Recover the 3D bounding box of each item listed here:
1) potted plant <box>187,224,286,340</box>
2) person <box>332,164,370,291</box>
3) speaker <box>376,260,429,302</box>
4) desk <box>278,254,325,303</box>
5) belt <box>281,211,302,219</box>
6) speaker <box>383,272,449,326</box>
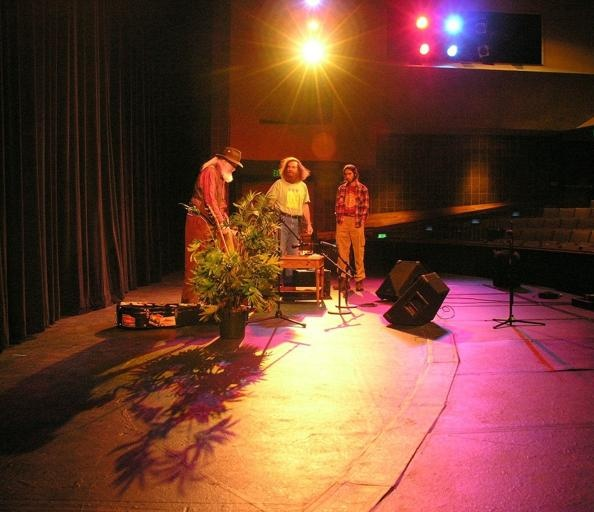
[{"bbox_3d":[-0.604,0.272,4.215,0.819,0.853,0.631,8,-7,-43],"label":"potted plant"},{"bbox_3d":[0.735,-0.343,6.844,0.412,1.709,0.353,1,7,4],"label":"person"},{"bbox_3d":[1.171,0.296,6.004,0.605,0.632,0.378,0,4,-12],"label":"speaker"},{"bbox_3d":[0.034,0.180,5.801,0.645,0.646,0.518,0,-2,3],"label":"desk"},{"bbox_3d":[-0.086,-0.512,6.292,0.205,0.052,0.205,1,2,-14],"label":"belt"},{"bbox_3d":[1.115,0.416,4.755,0.570,0.513,0.263,2,7,16],"label":"speaker"}]
